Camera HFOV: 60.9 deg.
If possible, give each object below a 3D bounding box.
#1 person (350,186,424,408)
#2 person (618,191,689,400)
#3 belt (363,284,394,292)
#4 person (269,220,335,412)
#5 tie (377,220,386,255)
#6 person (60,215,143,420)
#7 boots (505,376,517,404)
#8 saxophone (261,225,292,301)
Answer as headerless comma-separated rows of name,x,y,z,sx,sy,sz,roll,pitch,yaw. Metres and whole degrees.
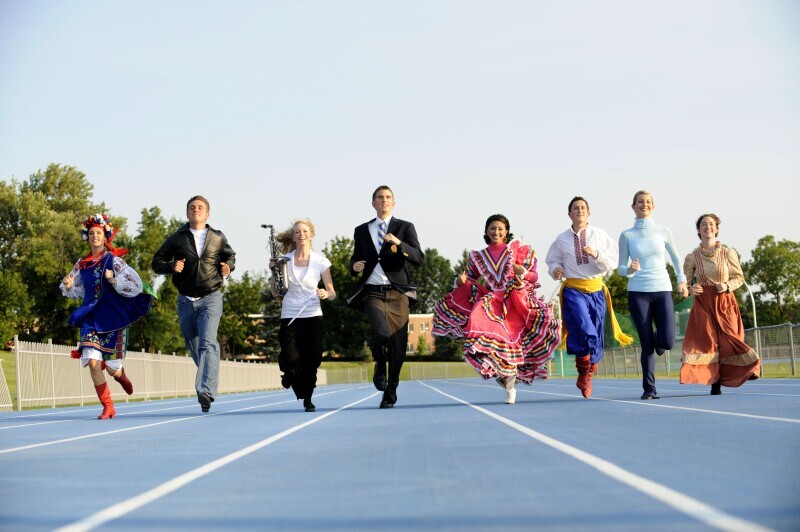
person,-0.266,0.430,10.081,1.098,3.219,1.025,-1,-3,15
person,3.734,0.389,10.104,0.943,3.137,1.455,-4,-3,22
belt,-0.302,0.304,9.949,0.459,0.150,0.068,-4,-3,-2
person,-1.527,0.729,10.118,1.165,2.885,1.087,3,-5,-32
tie,-0.289,-0.447,10.071,0.085,0.481,0.071,6,-25,-9
person,-4.195,0.668,9.654,1.075,2.970,1.046,-2,-3,-27
boots,1.622,1.809,9.952,0.133,0.352,0.349,-3,-3,6
saxophone,-1.814,-0.119,10.058,0.333,1.146,0.246,-15,15,-28
